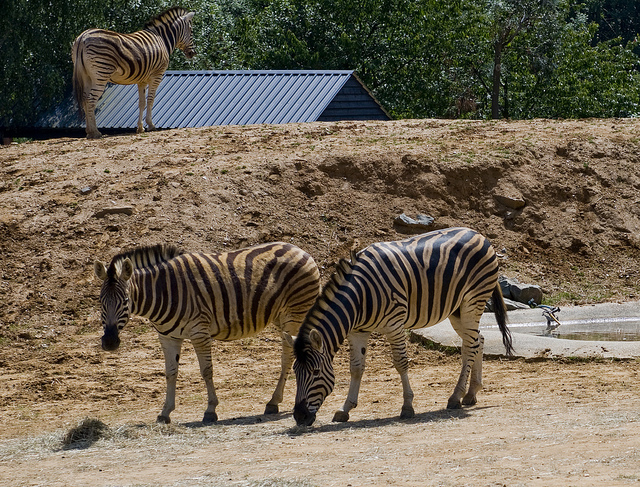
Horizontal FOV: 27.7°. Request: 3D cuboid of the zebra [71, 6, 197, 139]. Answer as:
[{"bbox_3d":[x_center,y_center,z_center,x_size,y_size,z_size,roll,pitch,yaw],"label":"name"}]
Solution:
[{"bbox_3d":[-5.017,-4.436,34.895,3.990,3.753,1.295,-6,8,-42],"label":"zebra"}]
